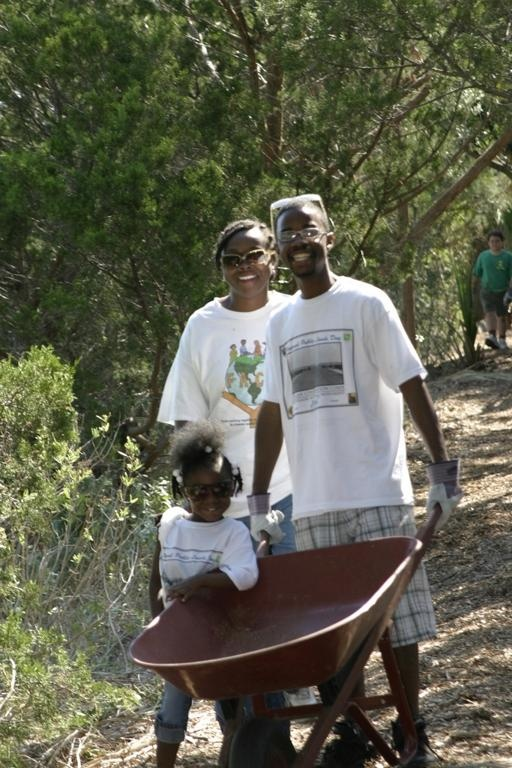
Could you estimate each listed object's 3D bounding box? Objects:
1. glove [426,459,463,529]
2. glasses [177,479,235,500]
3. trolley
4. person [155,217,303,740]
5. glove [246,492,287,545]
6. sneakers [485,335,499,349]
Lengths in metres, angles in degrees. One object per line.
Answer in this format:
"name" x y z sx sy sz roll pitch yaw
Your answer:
"glove" 0.560 0.323 2.275 0.120 0.181 0.115 -12 -5 -3
"glasses" -0.140 0.321 2.336 0.151 0.057 0.090 -6 -1 -4
"trolley" 0.078 0.625 1.994 0.510 0.412 0.798 -10 5 32
"person" -0.067 0.396 3.010 0.707 1.950 0.553 1 3 2
"glove" 0.029 0.465 2.633 0.135 0.183 0.161 -4 -2 4
"sneakers" 3.792 -0.677 12.344 0.207 0.240 0.600 -1 6 16
